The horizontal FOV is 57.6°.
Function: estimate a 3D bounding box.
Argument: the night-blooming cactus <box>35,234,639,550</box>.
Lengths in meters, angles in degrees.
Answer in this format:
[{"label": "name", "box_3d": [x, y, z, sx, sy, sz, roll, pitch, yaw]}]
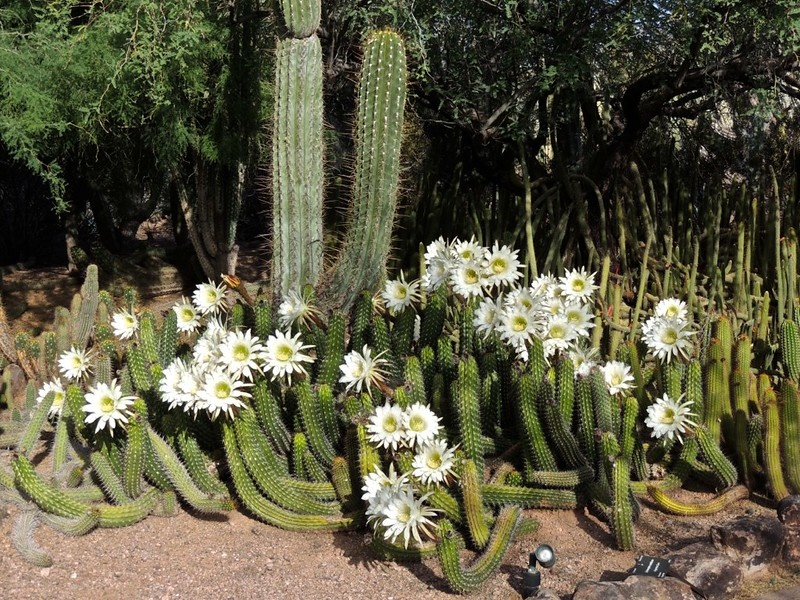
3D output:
[{"label": "night-blooming cactus", "box_3d": [-0.201, 0.571, 4.421, 2.840, 1.597, 1.941, 1, 32, 5]}]
